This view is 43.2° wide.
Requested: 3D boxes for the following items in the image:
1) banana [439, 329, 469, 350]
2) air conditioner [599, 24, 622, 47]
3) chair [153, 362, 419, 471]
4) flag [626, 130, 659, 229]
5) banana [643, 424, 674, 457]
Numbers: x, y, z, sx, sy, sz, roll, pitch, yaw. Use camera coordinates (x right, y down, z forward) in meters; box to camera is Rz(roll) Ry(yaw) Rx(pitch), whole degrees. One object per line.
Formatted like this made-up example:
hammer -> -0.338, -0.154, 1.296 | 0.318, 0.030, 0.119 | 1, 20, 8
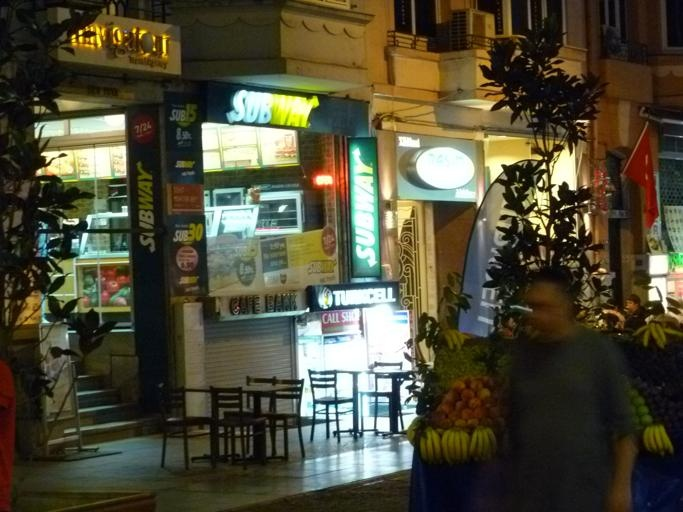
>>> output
banana -> 1.007, 0.725, 7.676 | 0.191, 0.162, 0.274 | -3, -3, 40
air conditioner -> 7.178, -5.862, 23.176 | 0.801, 0.569, 0.149 | 1, -3, -44
chair -> -0.961, 2.673, 13.977 | 3.590, 1.687, 2.552 | -6, 0, -24
flag -> 8.178, -2.181, 23.707 | 0.669, 2.764, 1.336 | -2, -3, 26
banana -> 2.598, 1.513, 7.150 | 0.206, 0.291, 0.099 | -5, -8, -15
